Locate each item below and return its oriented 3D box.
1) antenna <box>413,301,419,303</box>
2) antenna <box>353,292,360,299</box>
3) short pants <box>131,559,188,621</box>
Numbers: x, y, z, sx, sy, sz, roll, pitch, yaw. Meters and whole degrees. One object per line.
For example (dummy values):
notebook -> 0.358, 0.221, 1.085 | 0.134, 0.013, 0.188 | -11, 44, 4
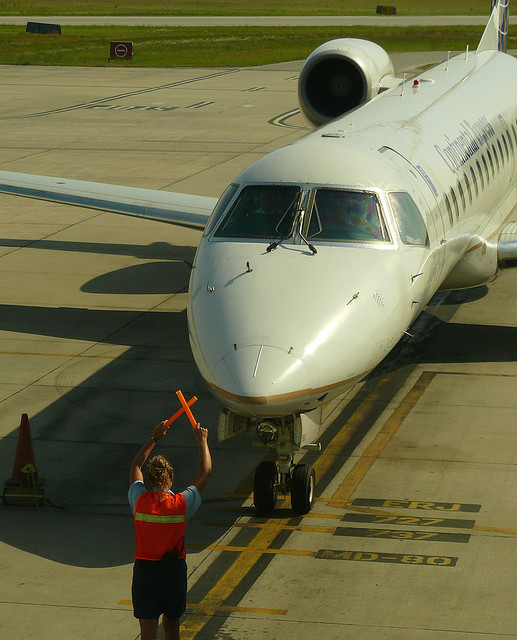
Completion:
antenna -> 1.760, -0.206, 8.764 | 0.034, 0.023, 0.100 | -3, 2, 21
antenna -> 0.942, -0.239, 7.563 | 0.061, 0.025, 0.100 | 13, 21, 19
short pants -> -0.652, 1.747, 5.096 | 0.394, 0.376, 0.251 | 13, -35, -24
